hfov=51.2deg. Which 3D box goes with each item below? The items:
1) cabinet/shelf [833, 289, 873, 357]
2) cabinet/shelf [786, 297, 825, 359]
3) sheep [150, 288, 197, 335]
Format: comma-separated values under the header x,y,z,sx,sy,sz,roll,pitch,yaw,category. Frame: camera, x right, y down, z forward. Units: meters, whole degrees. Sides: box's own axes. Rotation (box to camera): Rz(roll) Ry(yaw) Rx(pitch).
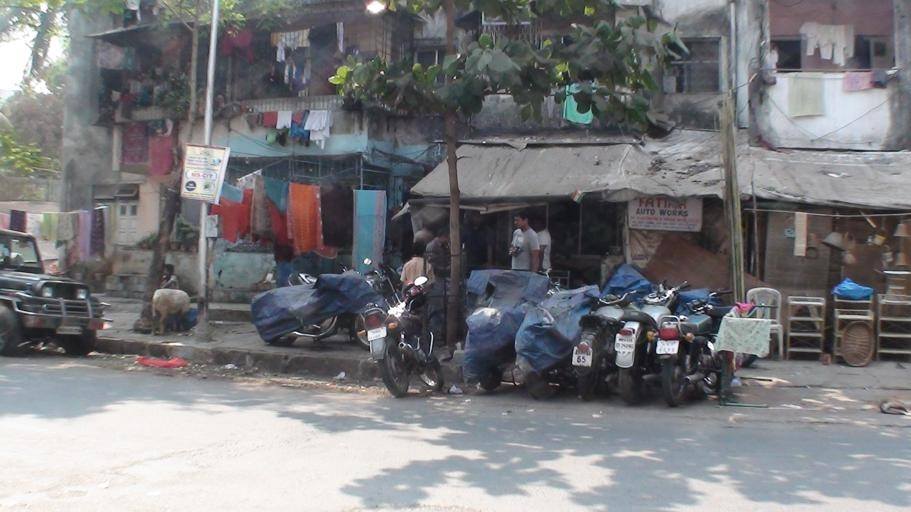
x,y,z,sx,sy,sz,roll,pitch,yaw,category
9.299,1.738,22.215,0.856,1.632,0.873,1,-2,19,cabinet/shelf
8.300,1.681,22.531,0.918,1.470,0.747,1,-2,7,cabinet/shelf
-7.077,1.318,23.886,0.652,0.982,1.417,7,7,20,sheep
